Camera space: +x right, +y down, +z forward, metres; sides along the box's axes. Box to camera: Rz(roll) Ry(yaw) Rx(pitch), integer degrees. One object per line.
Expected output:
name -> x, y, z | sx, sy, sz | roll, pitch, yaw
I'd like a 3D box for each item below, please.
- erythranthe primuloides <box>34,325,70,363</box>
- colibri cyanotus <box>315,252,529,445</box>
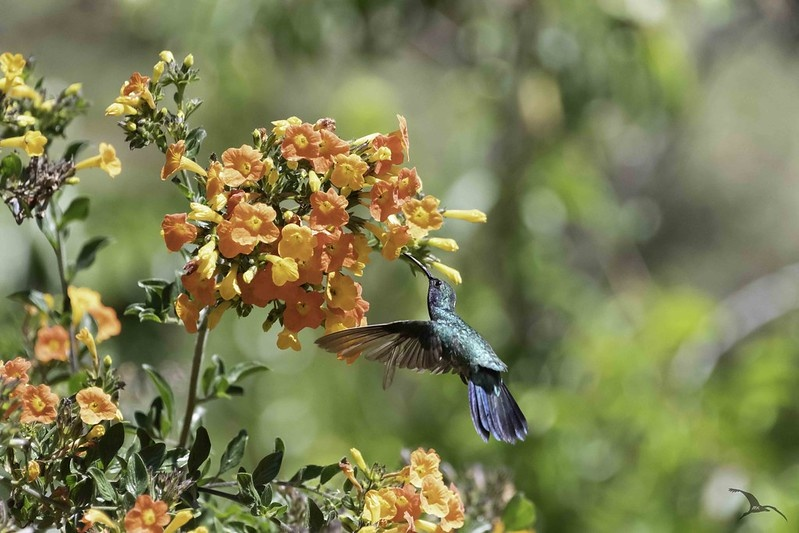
erythranthe primuloides -> -1.091, 0.236, 3.575 | 0.100, 0.102, 0.067 | 2, 8, -18
colibri cyanotus -> 0.124, 0.274, 3.383 | 0.579, 0.304, 0.569 | 31, 9, 12
